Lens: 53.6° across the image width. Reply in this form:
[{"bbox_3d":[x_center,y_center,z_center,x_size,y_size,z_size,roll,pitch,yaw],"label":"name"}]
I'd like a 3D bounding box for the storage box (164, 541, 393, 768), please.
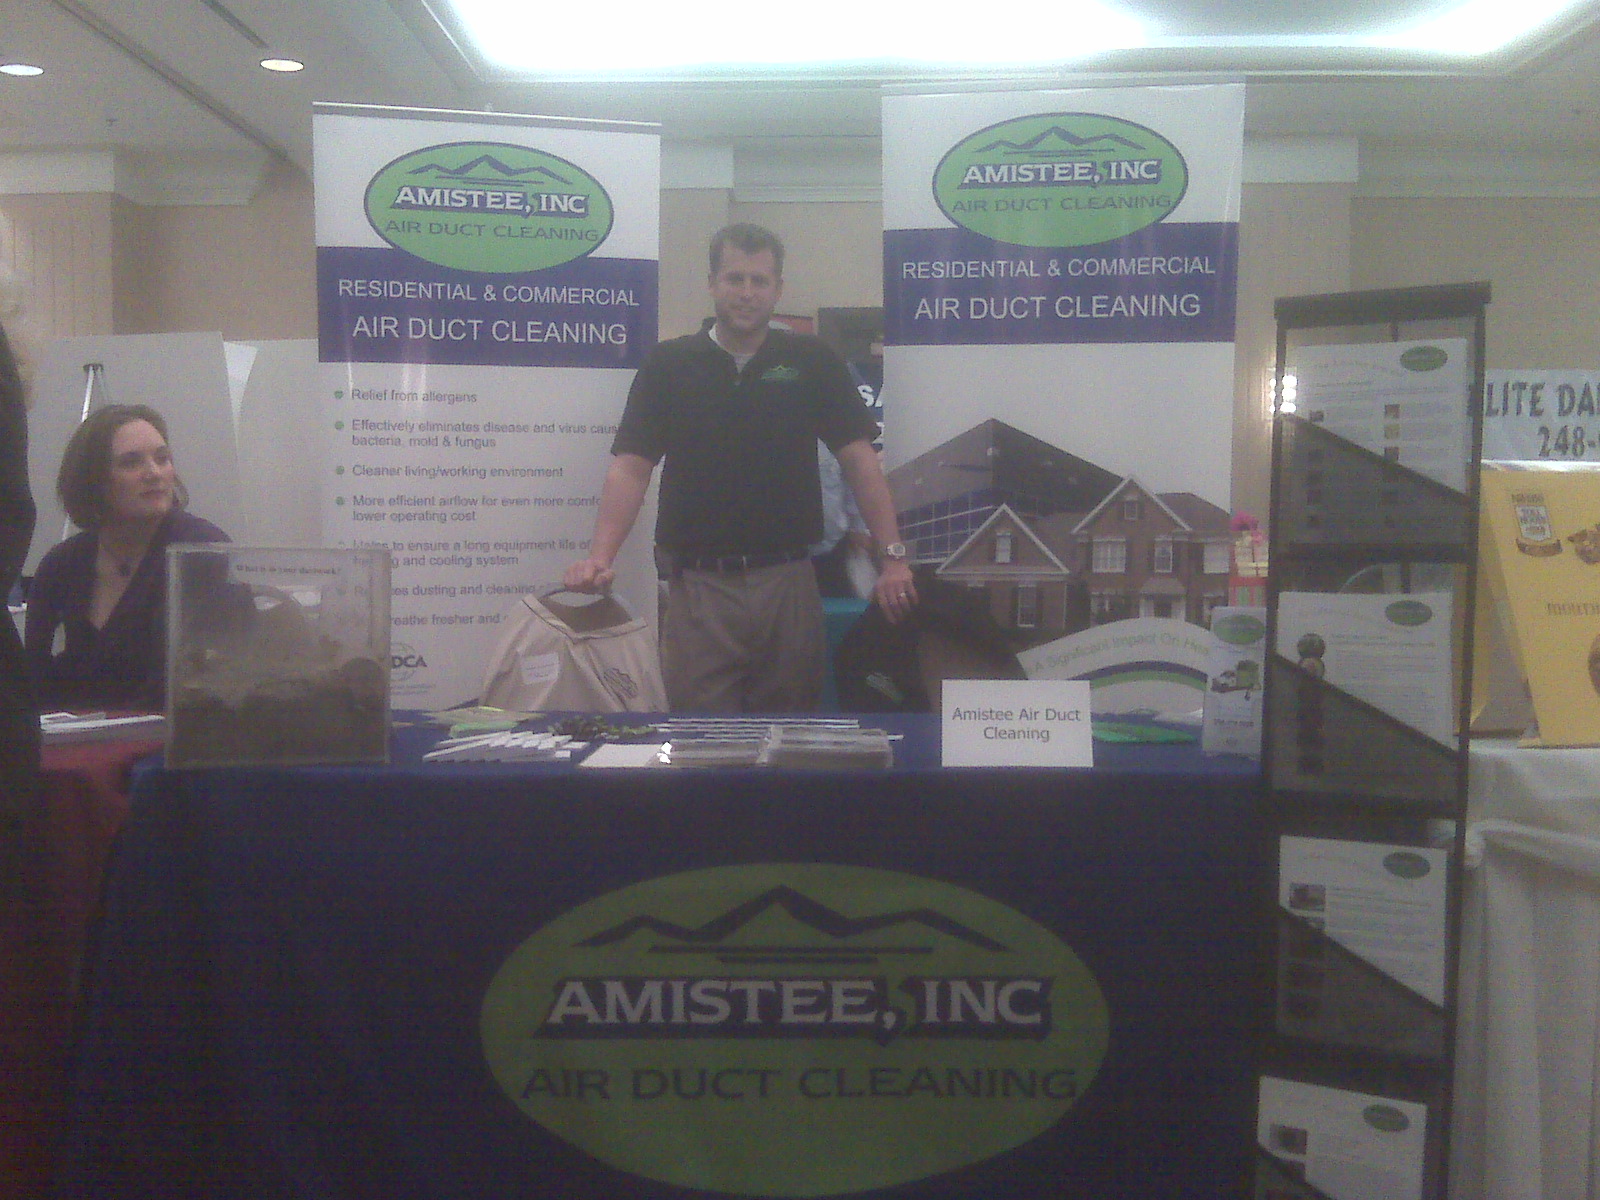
[{"bbox_3d":[-1.031,0.103,3.236,0.413,0.419,0.415,0,1,-5],"label":"storage box"}]

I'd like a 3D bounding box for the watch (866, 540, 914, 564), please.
[{"bbox_3d":[0.238,-0.119,4.076,0.071,0.048,0.070,-3,-28,-9],"label":"watch"}]

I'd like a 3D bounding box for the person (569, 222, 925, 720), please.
[{"bbox_3d":[-0.126,-0.334,4.189,0.817,1.298,0.323,1,5,2],"label":"person"}]
